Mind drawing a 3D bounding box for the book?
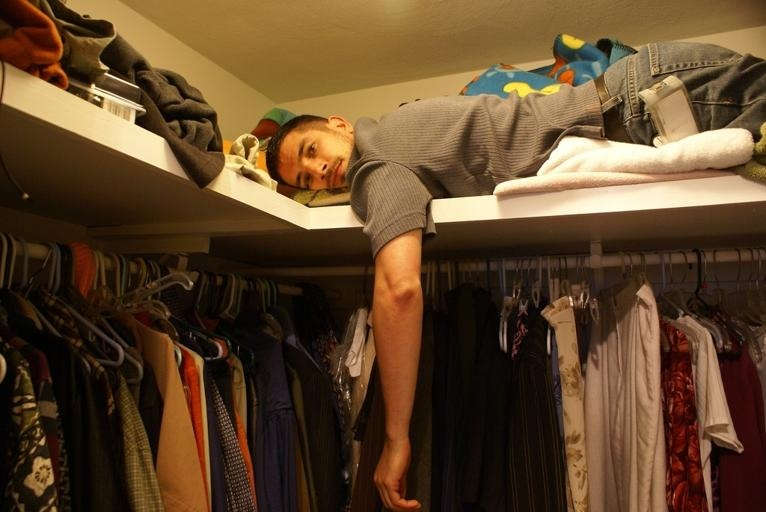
[{"bbox_3d":[-0.619,-0.330,1.401,0.107,0.059,0.113,8,-2,15],"label":"book"}]
